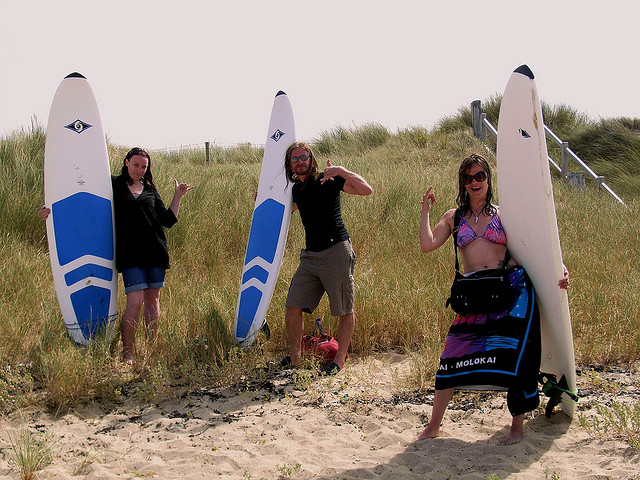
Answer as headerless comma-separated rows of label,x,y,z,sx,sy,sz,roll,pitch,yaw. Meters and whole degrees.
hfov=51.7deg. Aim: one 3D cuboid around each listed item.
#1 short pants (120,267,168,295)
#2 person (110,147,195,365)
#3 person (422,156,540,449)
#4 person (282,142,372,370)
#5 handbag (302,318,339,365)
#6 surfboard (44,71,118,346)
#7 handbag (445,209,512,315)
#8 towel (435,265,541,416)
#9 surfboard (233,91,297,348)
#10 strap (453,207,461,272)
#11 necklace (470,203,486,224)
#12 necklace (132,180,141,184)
short pants,-1.793,0.402,6.702,0.442,0.258,0.156,-4,-2,-22
person,-1.773,0.159,6.825,0.866,2.176,0.475,-3,-2,3
person,1.391,0.507,5.651,0.937,2.078,0.596,-4,-2,20
person,0.028,0.158,6.632,0.936,1.543,0.429,-5,-3,39
handbag,-0.032,1.114,7.020,0.446,0.548,0.268,-7,-28,13
surfboard,-2.522,-0.352,6.939,0.698,2.875,0.400,-2,-2,-20
handbag,1.354,0.213,5.618,0.318,0.776,0.425,1,5,3
towel,1.426,0.851,5.560,0.853,1.056,0.369,-4,-2,10
surfboard,-0.601,0.025,7.630,0.391,2.827,0.288,1,-10,41
strap,1.205,-0.024,5.750,0.055,0.625,0.076,5,5,4
necklace,1.379,-0.229,5.736,0.161,0.224,0.010,-1,-28,29
necklace,-1.902,-0.604,6.883,0.071,0.038,0.015,-4,-2,-21
